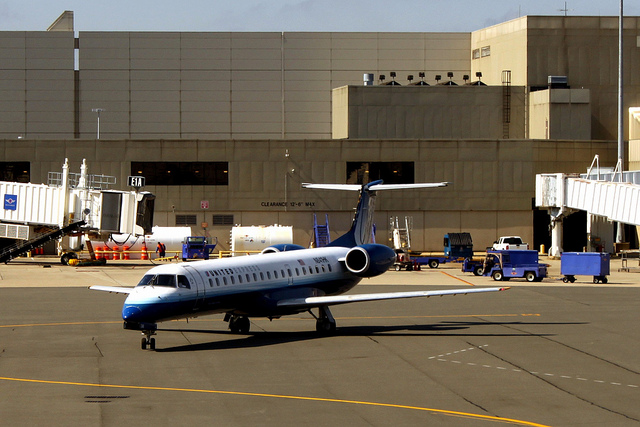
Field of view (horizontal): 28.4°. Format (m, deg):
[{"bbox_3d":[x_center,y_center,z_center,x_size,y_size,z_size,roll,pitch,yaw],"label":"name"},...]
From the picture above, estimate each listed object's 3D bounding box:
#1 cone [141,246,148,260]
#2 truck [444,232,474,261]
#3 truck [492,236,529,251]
[{"bbox_3d":[-18.266,4.119,131.952,0.654,1.222,0.691,-2,13,-8],"label":"cone"},{"bbox_3d":[13.925,3.237,126.967,2.395,2.579,2.824,-1,-4,-5],"label":"truck"},{"bbox_3d":[19.324,3.095,129.998,1.972,1.216,3.127,-1,5,-7],"label":"truck"}]
